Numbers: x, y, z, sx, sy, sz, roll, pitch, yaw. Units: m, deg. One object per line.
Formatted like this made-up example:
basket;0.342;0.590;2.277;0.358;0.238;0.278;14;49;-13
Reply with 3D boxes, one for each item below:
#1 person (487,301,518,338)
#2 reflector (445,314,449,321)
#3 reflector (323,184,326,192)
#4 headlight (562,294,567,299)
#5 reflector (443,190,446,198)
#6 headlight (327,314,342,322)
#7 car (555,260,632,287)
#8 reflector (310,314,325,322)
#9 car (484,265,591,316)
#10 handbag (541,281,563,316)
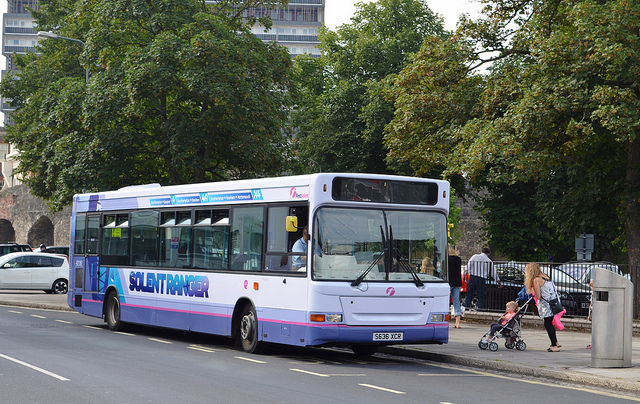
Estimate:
person;5.280;3.384;25.571;0.769;1.044;0.450;1;5;10
reflector;3.481;3.198;24.478;0.175;0.172;0.092;11;-14;-44
reflector;0.123;-0.381;23.790;0.055;0.117;0.037;2;4;-44
headlight;8.555;3.318;31.048;0.142;0.141;0.078;2;2;17
reflector;3.476;-0.214;24.715;0.072;0.147;0.028;2;-3;-28
headlight;0.368;3.104;23.608;0.228;0.142;0.234;0;-1;20
car;9.339;2.515;30.684;2.072;0.877;1.280;2;4;24
reflector;-0.086;3.088;23.560;0.382;0.185;0.040;0;5;4
car;7.689;3.117;31.352;3.426;1.162;1.505;-6;-8;44
handbag;6.731;2.788;25.541;0.534;0.889;0.861;2;5;21
